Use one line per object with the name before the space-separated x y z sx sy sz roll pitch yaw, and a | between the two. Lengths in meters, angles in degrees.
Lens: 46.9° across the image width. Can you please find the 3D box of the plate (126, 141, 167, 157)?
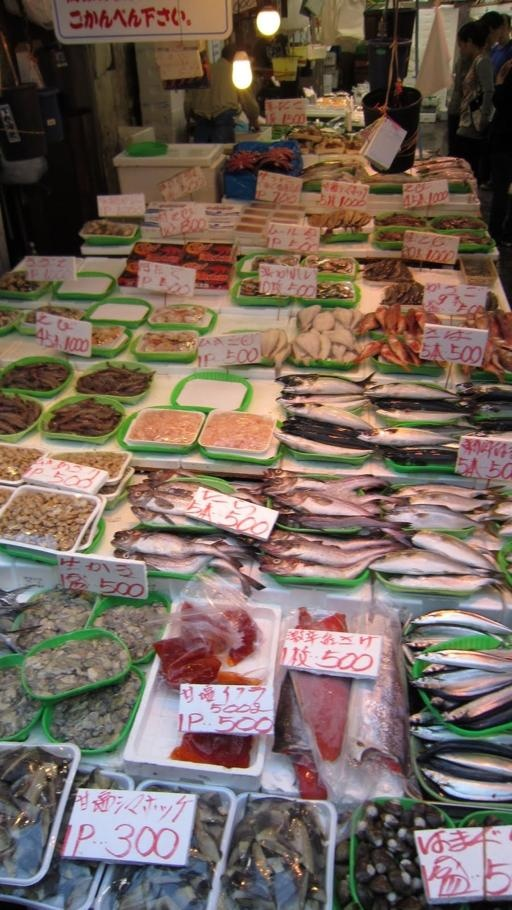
plate | -1.073 -3.023 5.830 0.288 0.085 0.243 -9 35 -11

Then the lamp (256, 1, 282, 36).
lamp | 0.134 -4.570 6.170 0.199 0.312 0.715 -1 27 6

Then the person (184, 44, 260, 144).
person | -0.443 -4.926 8.101 0.901 1.094 0.916 -5 26 -3

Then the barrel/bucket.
barrel/bucket | 0.925 -2.230 4.041 0.385 0.544 0.782 1 27 9

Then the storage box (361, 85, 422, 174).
storage box | 0.987 -2.214 4.067 0.302 0.377 0.334 -10 26 12
